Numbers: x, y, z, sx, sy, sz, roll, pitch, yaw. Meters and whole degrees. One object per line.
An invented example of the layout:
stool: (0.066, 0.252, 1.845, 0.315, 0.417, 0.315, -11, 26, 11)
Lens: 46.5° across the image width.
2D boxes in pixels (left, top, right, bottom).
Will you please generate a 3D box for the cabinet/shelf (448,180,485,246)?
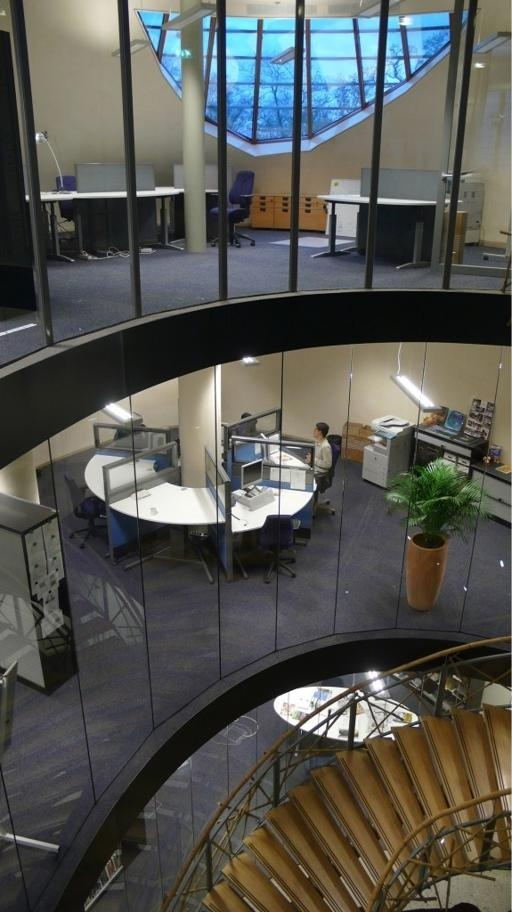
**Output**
cabinet/shelf: (2.585, -2.973, 7.307, 0.430, 0.747, 0.418, -11, 23, -41)

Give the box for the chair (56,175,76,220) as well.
chair: (-1.399, -1.896, 4.402, 0.136, 0.322, 0.774, -5, 23, -17)

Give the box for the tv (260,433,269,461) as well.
tv: (0.088, -0.127, 6.970, 0.033, 0.391, 0.192, 10, 22, 28)

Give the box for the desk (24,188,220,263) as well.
desk: (-1.148, -1.963, 5.011, 0.944, 0.402, 0.641, -27, 43, -34)

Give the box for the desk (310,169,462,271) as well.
desk: (1.390, -2.834, 6.987, 0.827, 1.014, 1.349, -22, 34, -40)

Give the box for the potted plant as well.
potted plant: (2.130, 1.003, 7.484, 0.892, 1.906, 1.221, -1, 9, 11)

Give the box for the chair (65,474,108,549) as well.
chair: (-1.496, 0.453, 5.360, 0.346, 0.637, 0.403, -10, 17, -29)

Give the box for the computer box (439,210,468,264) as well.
computer box: (2.432, -2.744, 7.342, 0.282, 0.489, 0.287, 15, 14, 36)

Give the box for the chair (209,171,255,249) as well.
chair: (-0.240, -2.490, 5.950, 0.396, 0.775, 0.408, 12, 17, 21)

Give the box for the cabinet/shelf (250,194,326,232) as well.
cabinet/shelf: (0.352, -2.632, 6.446, 0.986, 0.358, 0.514, -6, 23, -18)

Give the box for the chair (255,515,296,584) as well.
chair: (0.220, 1.147, 7.522, 0.519, 0.982, 0.657, -2, 45, 0)

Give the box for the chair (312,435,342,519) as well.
chair: (0.745, 0.254, 7.303, 0.424, 0.861, 0.444, 2, 12, -15)

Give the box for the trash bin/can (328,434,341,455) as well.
trash bin/can: (0.933, -0.137, 7.179, 0.099, 0.212, 0.137, 14, 30, 28)

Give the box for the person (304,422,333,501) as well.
person: (0.750, 0.132, 7.337, 0.382, 1.171, 0.413, 7, 24, 21)

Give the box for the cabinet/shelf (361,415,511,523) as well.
cabinet/shelf: (2.228, 0.097, 7.247, 0.999, 0.583, 0.302, 29, 37, 22)
